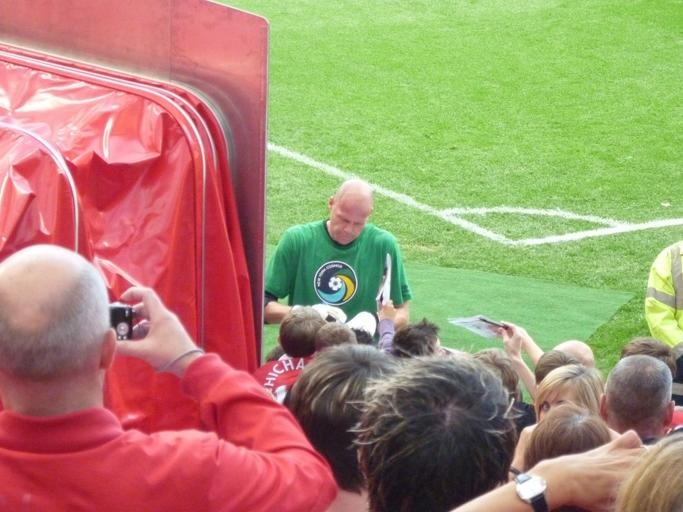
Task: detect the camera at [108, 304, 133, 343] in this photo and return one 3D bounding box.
[{"bbox_3d":[-0.538,0.157,2.402,0.073,0.071,0.072,4,-5,-16],"label":"camera"}]
